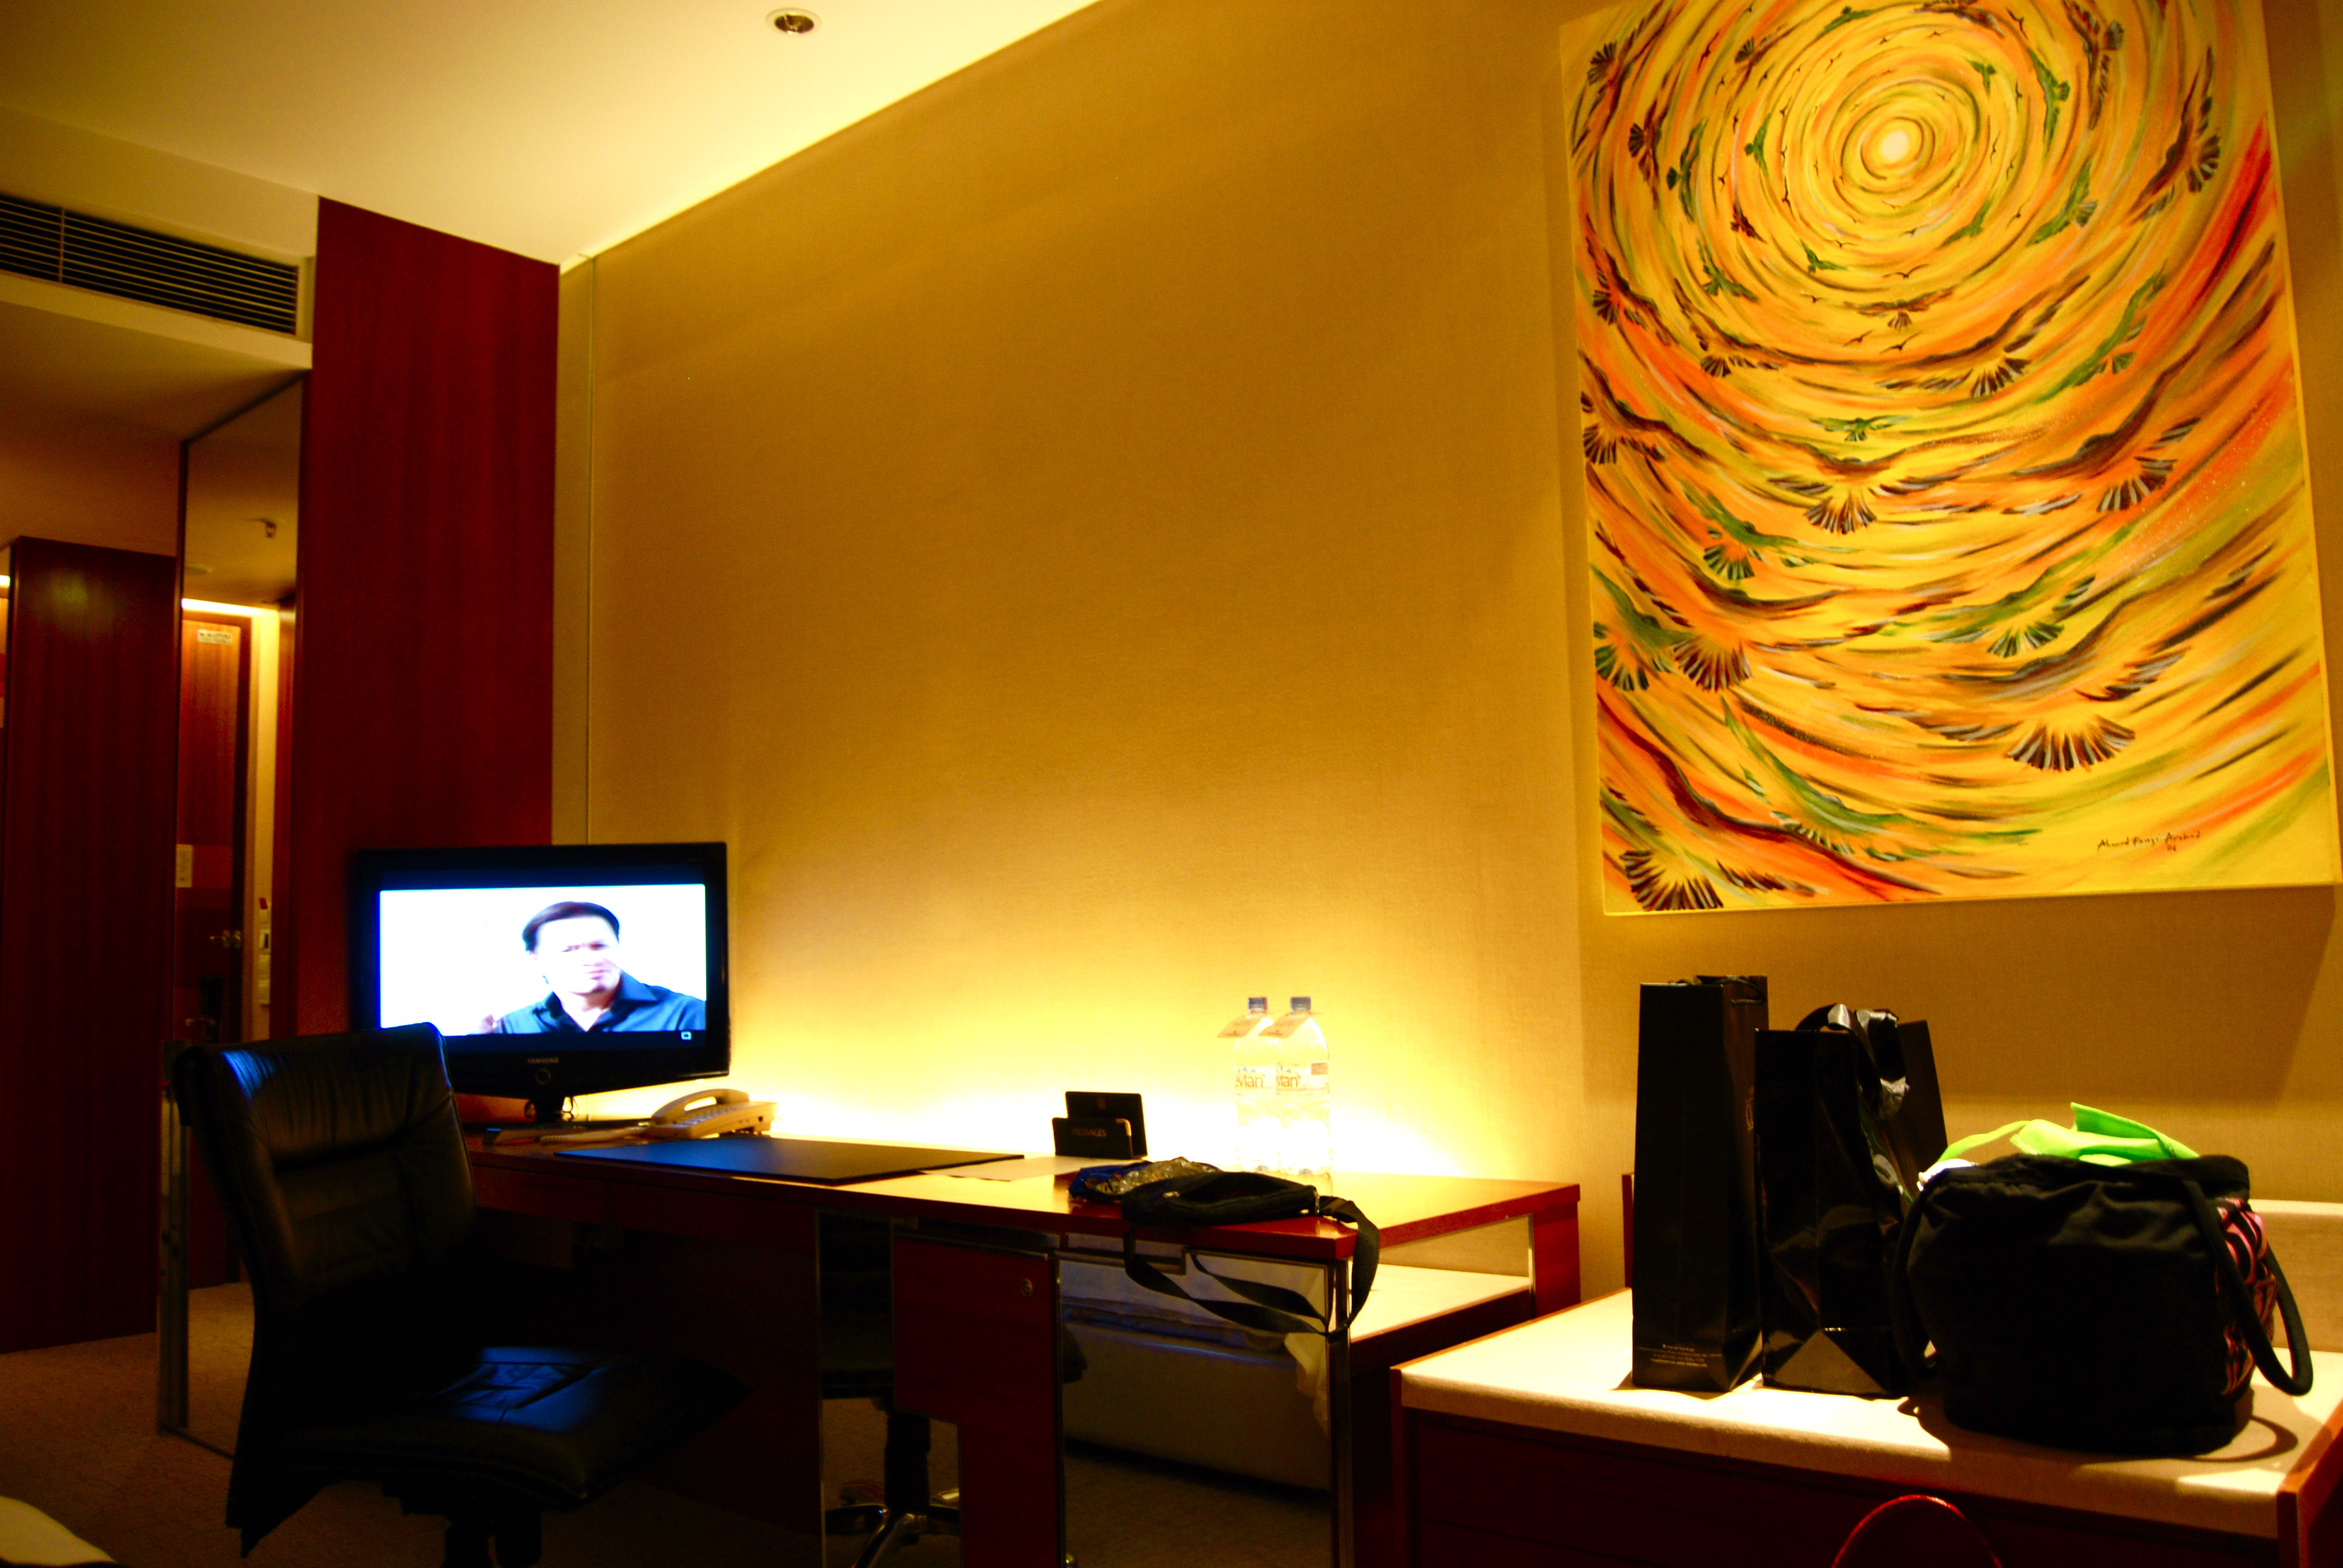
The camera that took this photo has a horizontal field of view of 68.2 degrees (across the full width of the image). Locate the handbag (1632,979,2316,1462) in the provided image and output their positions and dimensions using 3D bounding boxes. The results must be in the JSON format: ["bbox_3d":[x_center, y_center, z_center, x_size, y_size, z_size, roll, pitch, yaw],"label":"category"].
[{"bbox_3d":[1.141,0.602,2.566,0.839,0.574,0.640,-9,-13,33],"label":"handbag"}]

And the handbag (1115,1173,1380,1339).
[{"bbox_3d":[0.121,0.809,3.059,0.254,0.114,0.341,1,-1,-17],"label":"handbag"}]

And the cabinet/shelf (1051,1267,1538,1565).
[{"bbox_3d":[0.225,0.990,3.102,0.531,0.343,0.554,-1,-1,33],"label":"cabinet/shelf"}]
